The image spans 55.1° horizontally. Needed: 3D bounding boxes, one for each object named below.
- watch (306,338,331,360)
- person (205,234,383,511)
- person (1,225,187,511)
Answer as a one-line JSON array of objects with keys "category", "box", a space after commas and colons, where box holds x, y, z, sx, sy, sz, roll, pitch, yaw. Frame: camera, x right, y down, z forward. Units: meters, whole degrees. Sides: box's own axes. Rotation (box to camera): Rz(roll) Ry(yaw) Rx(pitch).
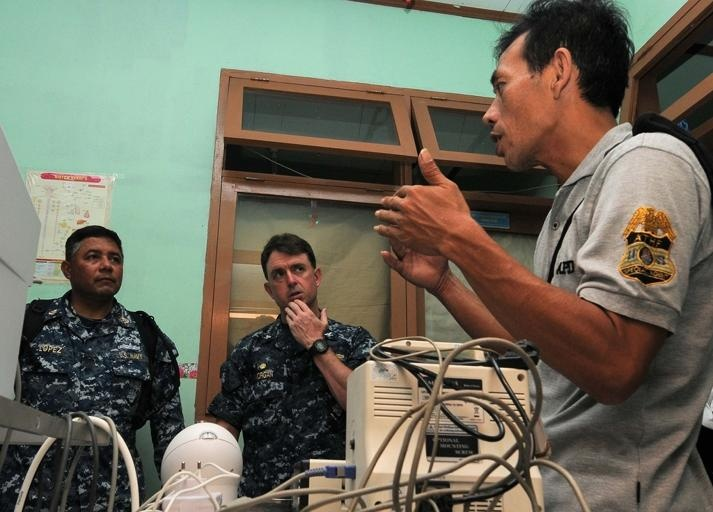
[{"category": "watch", "box": [-0.162, 0.398, 2.933, 0.096, 0.059, 0.089, -16, -14, -25]}, {"category": "person", "box": [-0.263, 0.447, 3.097, 0.724, 1.212, 0.435, -13, -24, 31]}, {"category": "person", "box": [-1.201, 0.454, 3.107, 0.568, 1.336, 0.726, -10, -22, 24]}]
